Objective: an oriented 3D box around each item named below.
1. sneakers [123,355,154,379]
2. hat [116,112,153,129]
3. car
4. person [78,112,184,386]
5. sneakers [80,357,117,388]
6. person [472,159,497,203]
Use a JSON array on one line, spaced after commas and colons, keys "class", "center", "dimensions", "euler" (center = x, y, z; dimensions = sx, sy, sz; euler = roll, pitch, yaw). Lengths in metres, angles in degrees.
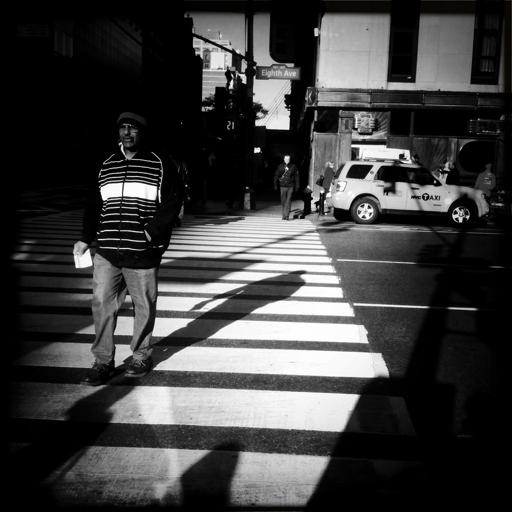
[{"class": "sneakers", "center": [-0.952, 0.906, 4.650], "dimensions": [0.105, 0.130, 0.274], "euler": [1, -3, 10]}, {"class": "hat", "center": [-0.964, -1.075, 4.453], "dimensions": [0.230, 0.139, 0.428], "euler": [-1, 9, -14]}, {"class": "car", "center": [4.753, -2.180, 18.958], "dimensions": [4.454, 2.294, 2.293], "euler": [-2, 9, -3]}, {"class": "person", "center": [-0.991, -0.054, 4.480], "dimensions": [0.809, 2.085, 0.374], "euler": [0, 7, -10]}, {"class": "sneakers", "center": [-1.239, 0.928, 4.511], "dimensions": [0.113, 0.162, 0.340], "euler": [7, -4, 11]}, {"class": "person", "center": [7.950, -2.544, 19.769], "dimensions": [0.644, 2.114, 0.652], "euler": [2, 45, 16]}]
